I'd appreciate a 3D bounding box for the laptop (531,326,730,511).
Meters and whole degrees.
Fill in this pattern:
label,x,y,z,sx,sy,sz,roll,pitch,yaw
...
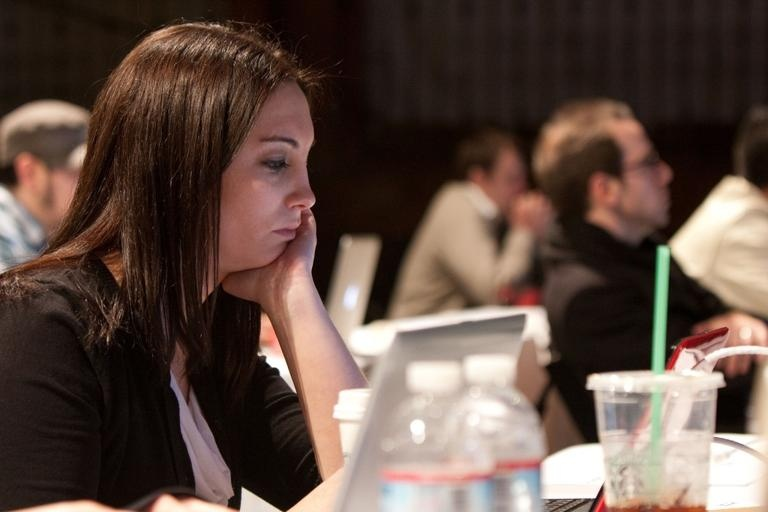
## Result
label,x,y,z,sx,sy,sz,roll,pitch,yaw
laptop,0.475,0.353,1.948,0.350,0.509,0.437,10,-6,7

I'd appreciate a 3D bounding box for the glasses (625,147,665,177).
label,x,y,z,sx,sy,sz,roll,pitch,yaw
glasses,0.862,-0.312,2.971,0.188,0.085,0.067,-8,10,-34

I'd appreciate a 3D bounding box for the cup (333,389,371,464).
label,x,y,z,sx,sy,sz,roll,pitch,yaw
cup,-0.067,0.310,1.693,0.105,0.152,0.115,-1,-14,0
